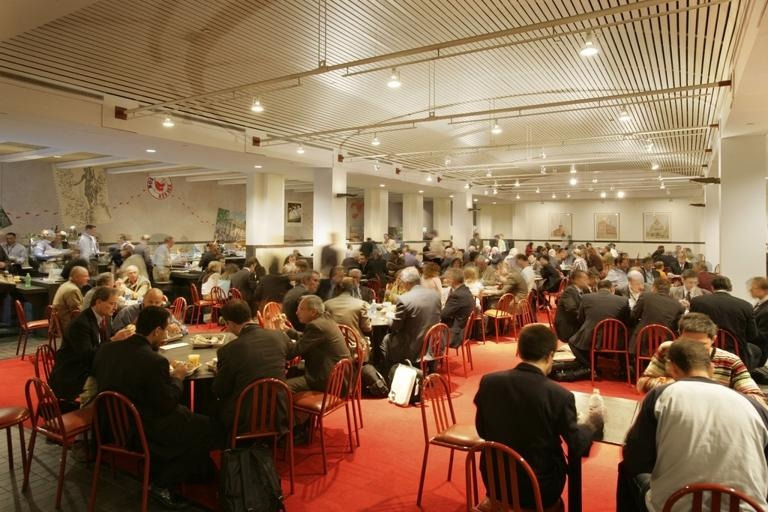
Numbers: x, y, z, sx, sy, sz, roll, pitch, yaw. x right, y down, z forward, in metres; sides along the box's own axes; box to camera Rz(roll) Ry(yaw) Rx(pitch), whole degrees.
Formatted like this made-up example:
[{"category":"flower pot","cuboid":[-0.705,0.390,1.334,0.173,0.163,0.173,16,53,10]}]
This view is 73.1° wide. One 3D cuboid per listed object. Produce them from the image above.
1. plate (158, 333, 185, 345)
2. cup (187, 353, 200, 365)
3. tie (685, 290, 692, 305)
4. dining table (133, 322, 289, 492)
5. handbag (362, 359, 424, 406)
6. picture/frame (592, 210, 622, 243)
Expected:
[{"category":"plate","cuboid":[-2.477,0.975,6.029,0.277,0.074,0.286,3,3,2]},{"category":"cup","cuboid":[-1.948,1.063,5.332,0.107,0.110,0.117,1,5,0]},{"category":"tie","cuboid":[4.544,0.620,7.737,0.115,0.151,0.048,-6,-22,39]},{"category":"dining table","cuboid":[-1.556,1.351,4.803,1.509,0.917,1.451,4,-3,14]},{"category":"handbag","cuboid":[0.094,1.600,6.516,0.295,0.457,0.692,7,-7,-44]},{"category":"picture/frame","cuboid":[10.237,-1.362,23.739,1.650,2.005,0.154,-1,-3,31]}]
